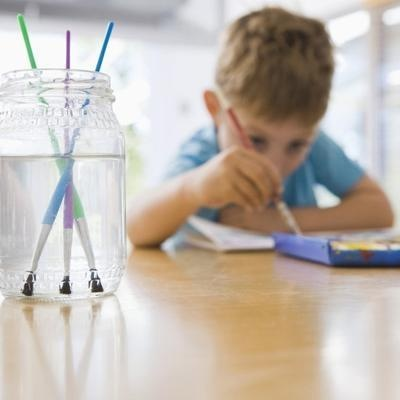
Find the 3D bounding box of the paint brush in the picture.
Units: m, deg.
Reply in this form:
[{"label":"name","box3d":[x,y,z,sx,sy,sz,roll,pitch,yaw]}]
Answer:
[{"label":"paint brush","box3d":[-0.110,-0.047,0.490,0.084,0.219,0.171,-2,6,-7]}]
